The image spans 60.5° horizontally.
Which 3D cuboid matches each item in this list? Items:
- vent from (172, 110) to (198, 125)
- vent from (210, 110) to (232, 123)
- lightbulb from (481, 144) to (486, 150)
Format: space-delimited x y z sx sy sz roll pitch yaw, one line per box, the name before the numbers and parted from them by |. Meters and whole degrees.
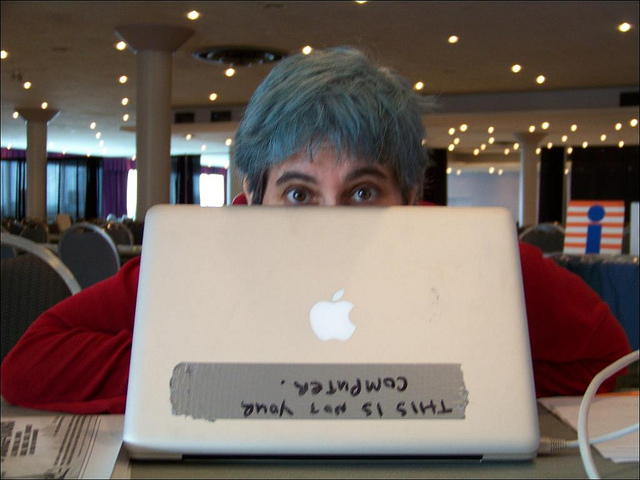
vent | -2.975 -2.697 12.196 0.451 0.360 0.454 0 5 8
vent | -2.144 -2.667 11.894 0.459 0.276 0.336 0 1 23
lightbulb | 4.976 -2.814 16.724 0.050 0.165 0.153 4 0 -23
